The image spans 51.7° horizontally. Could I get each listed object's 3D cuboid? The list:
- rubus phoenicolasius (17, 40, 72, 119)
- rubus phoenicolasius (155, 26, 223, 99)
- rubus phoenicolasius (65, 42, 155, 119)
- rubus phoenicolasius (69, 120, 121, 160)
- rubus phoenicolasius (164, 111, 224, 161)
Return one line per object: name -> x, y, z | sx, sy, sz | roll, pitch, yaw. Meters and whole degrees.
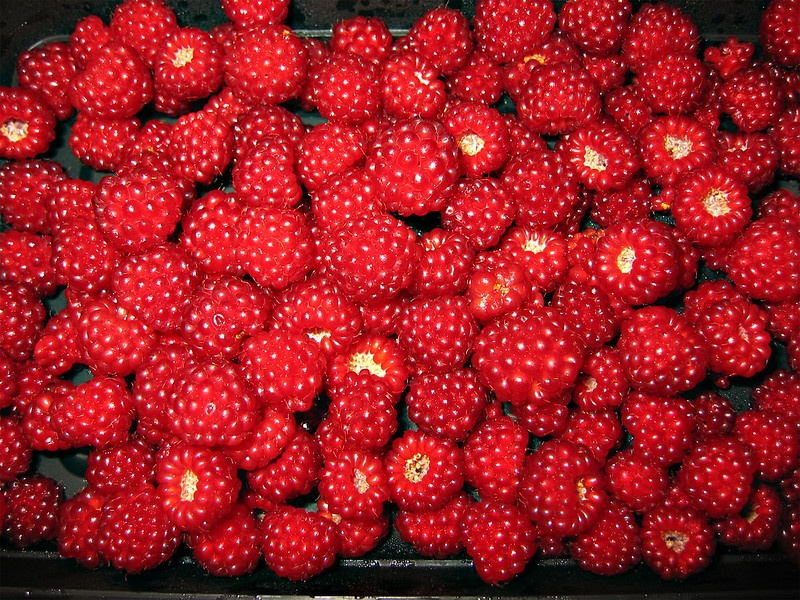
rubus phoenicolasius -> -1.270, -0.796, 3.057 | 0.182, 0.127, 0.265 | -30, 104, -4
rubus phoenicolasius -> -0.753, -0.844, 2.953 | 0.261, 0.159, 0.220 | -11, 88, -1
rubus phoenicolasius -> -1.028, -0.751, 2.947 | 0.285, 0.142, 0.205 | -42, 89, -2
rubus phoenicolasius -> -1.094, -0.562, 2.950 | 0.175, 0.065, 0.152 | 9, 88, 0
rubus phoenicolasius -> -0.682, -0.551, 2.815 | 0.210, 0.080, 0.169 | -10, 88, -1
